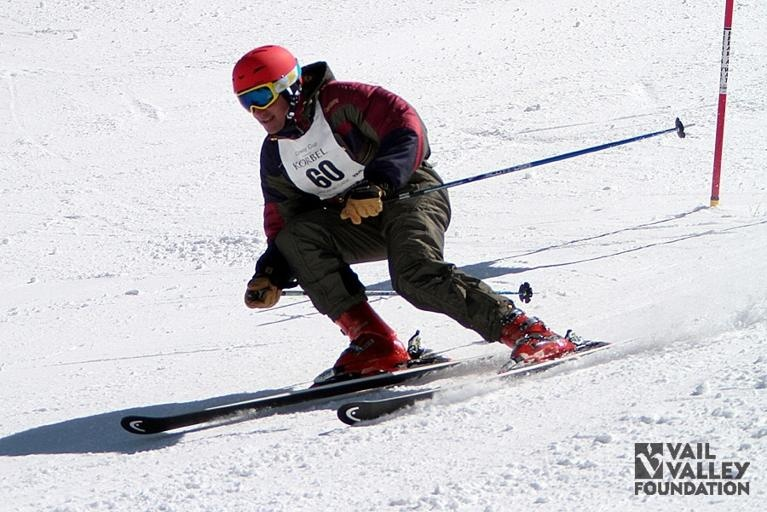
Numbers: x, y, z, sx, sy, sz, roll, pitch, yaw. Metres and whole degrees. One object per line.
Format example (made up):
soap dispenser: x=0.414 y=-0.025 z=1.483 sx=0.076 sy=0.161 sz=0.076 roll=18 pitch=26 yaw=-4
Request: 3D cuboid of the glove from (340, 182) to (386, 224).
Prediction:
glove: x=-0.191 y=-0.540 z=8.481 sx=0.415 sy=0.280 sz=0.495 roll=-49 pitch=27 yaw=39
